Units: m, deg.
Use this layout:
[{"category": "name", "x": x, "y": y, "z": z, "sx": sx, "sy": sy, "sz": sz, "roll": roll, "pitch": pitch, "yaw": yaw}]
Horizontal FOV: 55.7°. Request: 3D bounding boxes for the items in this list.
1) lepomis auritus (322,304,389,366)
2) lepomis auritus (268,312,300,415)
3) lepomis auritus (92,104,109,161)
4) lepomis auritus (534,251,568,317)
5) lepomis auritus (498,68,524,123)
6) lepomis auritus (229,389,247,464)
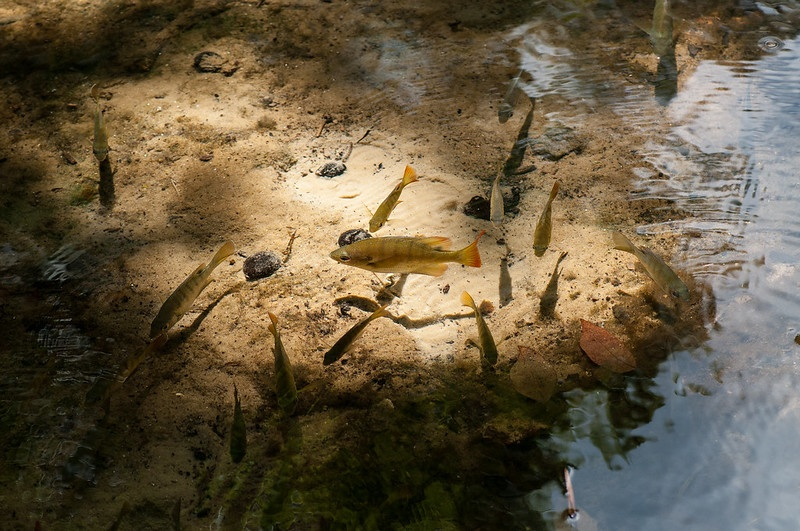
[{"category": "lepomis auritus", "x": -0.563, "y": 0.840, "z": 9.179, "sx": 1.035, "sy": 0.347, "sz": 0.189, "roll": -41, "pitch": 61, "yaw": -16}, {"category": "lepomis auritus", "x": -1.408, "y": 1.239, "z": 9.166, "sx": 0.234, "sy": 1.163, "sz": 0.478, "roll": -9, "pitch": 9, "yaw": 2}, {"category": "lepomis auritus", "x": -4.346, "y": -1.887, "z": 10.917, "sx": 0.218, "sy": 0.757, "sz": 0.365, "roll": -9, "pitch": 21, "yaw": -21}, {"category": "lepomis auritus", "x": 1.981, "y": 0.299, "z": 9.869, "sx": 0.359, "sy": 0.885, "sz": 0.199, "roll": 13, "pitch": -19, "yaw": 5}, {"category": "lepomis auritus", "x": 1.682, "y": -2.537, "z": 11.414, "sx": 0.189, "sy": 0.840, "sz": 0.330, "roll": 17, "pitch": -10, "yaw": 7}, {"category": "lepomis auritus", "x": -1.833, "y": 1.722, "z": 8.617, "sx": 0.168, "sy": 0.926, "sz": 0.043, "roll": 7, "pitch": 32, "yaw": 5}]
